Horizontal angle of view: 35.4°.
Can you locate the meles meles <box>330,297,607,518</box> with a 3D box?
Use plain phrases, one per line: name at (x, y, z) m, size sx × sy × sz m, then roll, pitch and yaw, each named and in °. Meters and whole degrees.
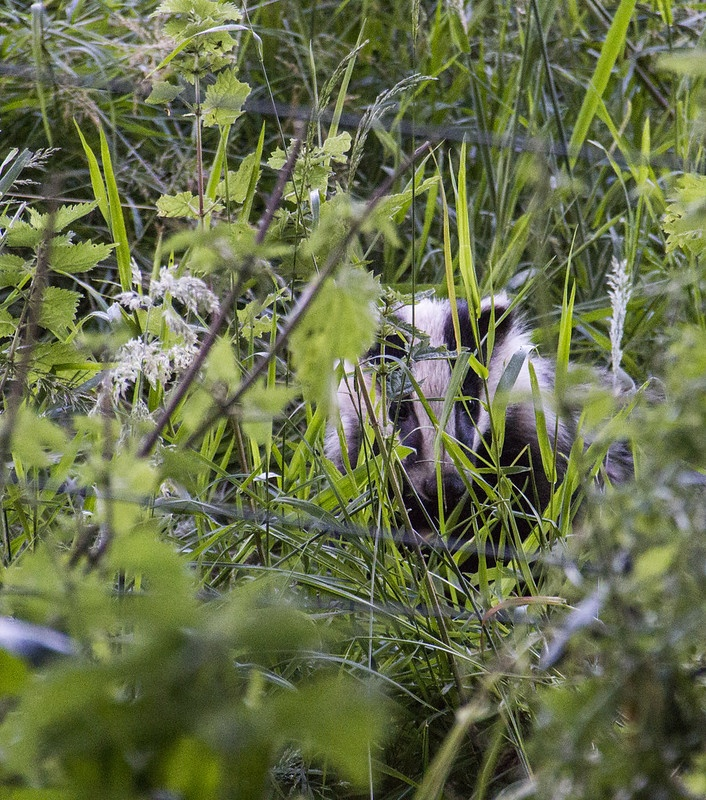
meles meles at (0.284, 0.014, 2.699) m, size 0.378 × 0.555 × 0.734 m, roll -12°, pitch 11°, yaw 33°
